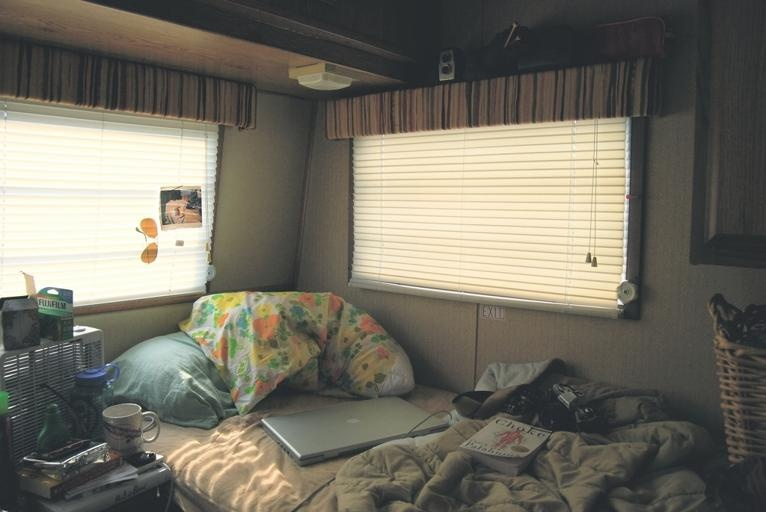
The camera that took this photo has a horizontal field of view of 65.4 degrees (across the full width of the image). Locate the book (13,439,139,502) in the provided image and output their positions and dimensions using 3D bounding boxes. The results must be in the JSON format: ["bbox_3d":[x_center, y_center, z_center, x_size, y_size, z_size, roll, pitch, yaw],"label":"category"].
[{"bbox_3d":[-1.469,0.964,2.708,0.265,0.109,0.292,5,4,20],"label":"book"}]

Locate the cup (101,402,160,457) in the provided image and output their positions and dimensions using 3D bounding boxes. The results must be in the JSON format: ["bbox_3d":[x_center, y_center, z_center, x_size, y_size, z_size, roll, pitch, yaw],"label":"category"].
[{"bbox_3d":[-1.232,0.842,2.918,0.315,0.253,0.197,6,-8,-44],"label":"cup"}]

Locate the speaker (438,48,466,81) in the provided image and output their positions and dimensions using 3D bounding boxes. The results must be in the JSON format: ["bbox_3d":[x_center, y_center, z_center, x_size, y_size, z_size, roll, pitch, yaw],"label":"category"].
[{"bbox_3d":[0.396,-1.097,3.436,0.155,0.169,0.142,0,5,17],"label":"speaker"}]

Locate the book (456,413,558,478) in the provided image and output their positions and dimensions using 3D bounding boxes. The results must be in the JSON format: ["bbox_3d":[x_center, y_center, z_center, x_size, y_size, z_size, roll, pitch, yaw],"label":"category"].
[{"bbox_3d":[0.581,0.888,2.815,0.242,0.060,0.240,11,25,33],"label":"book"}]
